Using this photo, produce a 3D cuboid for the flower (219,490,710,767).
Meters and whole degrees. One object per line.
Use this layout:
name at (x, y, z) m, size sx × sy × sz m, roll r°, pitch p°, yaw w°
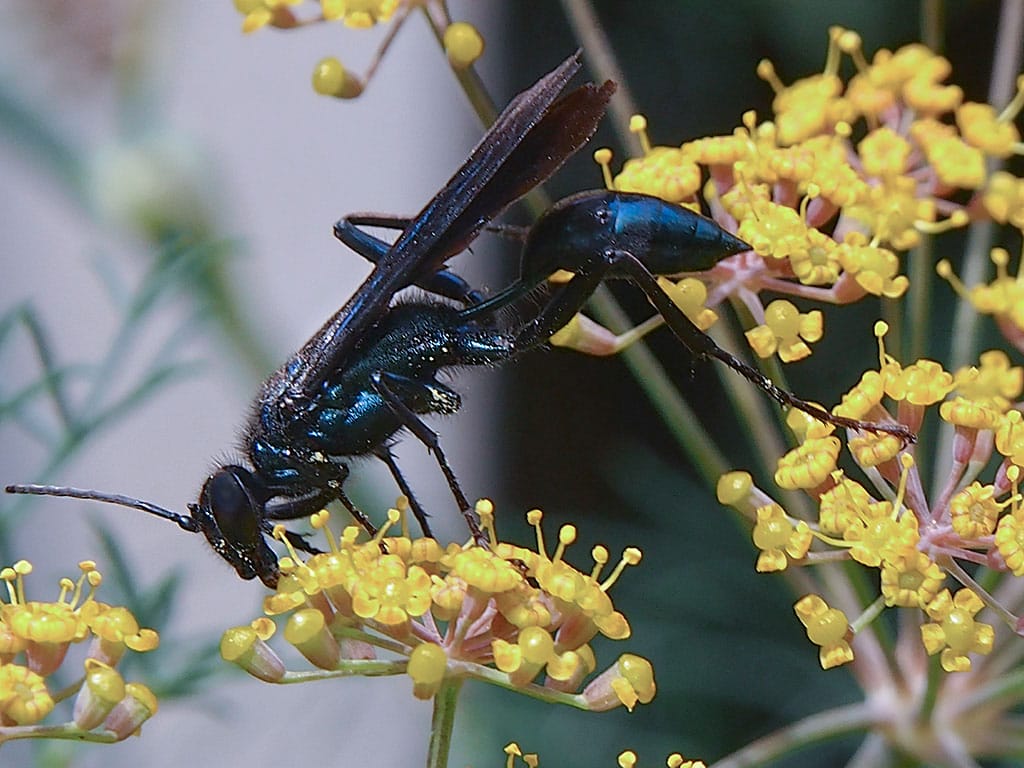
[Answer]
flower at (-0.072, 0.171, 1.435) m, size 0.380 × 0.217 × 0.404 m, roll 0°, pitch 5°, yaw -28°
